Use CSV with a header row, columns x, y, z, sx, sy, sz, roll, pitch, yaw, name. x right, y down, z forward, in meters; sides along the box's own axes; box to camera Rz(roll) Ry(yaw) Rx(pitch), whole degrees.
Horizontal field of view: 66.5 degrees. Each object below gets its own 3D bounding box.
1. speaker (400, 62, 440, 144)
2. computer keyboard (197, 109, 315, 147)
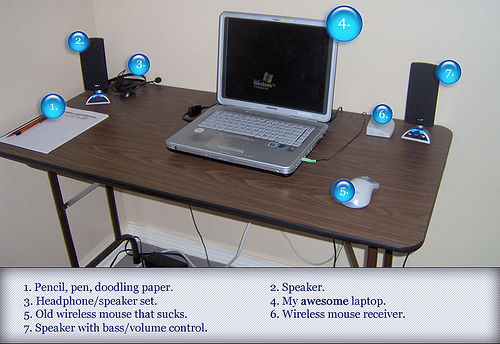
x,y,z,sx,sy,sz,roll,pitch,yaw,name
0.693,-0.285,1.548,0.130,0.298,0.152,11,24,19,speaker
0.024,-0.184,1.551,0.448,0.059,0.153,10,24,17,computer keyboard
